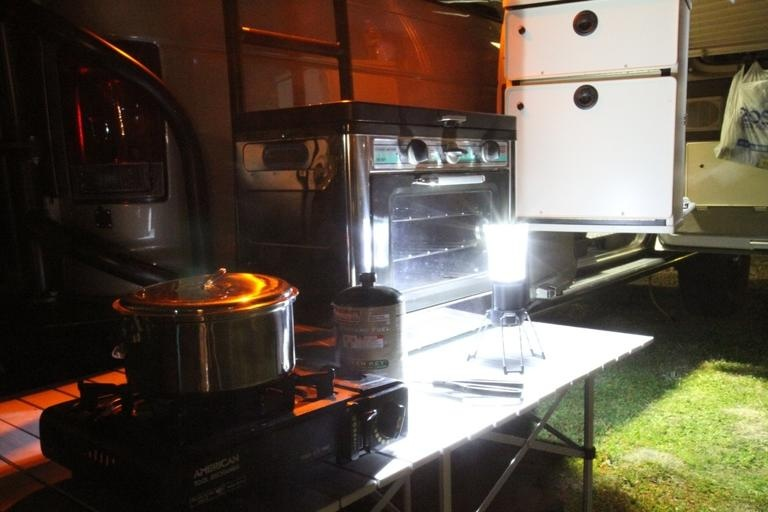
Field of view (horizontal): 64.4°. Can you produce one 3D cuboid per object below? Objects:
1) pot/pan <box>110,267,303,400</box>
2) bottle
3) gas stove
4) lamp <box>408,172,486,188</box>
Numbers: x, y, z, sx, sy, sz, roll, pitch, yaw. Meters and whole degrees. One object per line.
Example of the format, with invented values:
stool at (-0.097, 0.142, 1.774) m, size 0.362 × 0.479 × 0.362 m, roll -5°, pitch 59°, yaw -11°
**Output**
pot/pan at (-0.555, 0.246, 2.051) m, size 0.434 × 0.261 × 0.416 m, roll -3°, pitch 3°, yaw -9°
bottle at (-0.050, 0.261, 2.338) m, size 0.331 × 0.517 × 0.322 m, roll 0°, pitch 3°, yaw 0°
gas stove at (-0.514, 0.562, 1.989) m, size 1.240 × 0.321 × 0.393 m, roll -5°, pitch 9°, yaw -9°
lamp at (0.326, -0.365, 2.929) m, size 0.062 × 0.073 × 0.508 m, roll 5°, pitch 12°, yaw 42°
